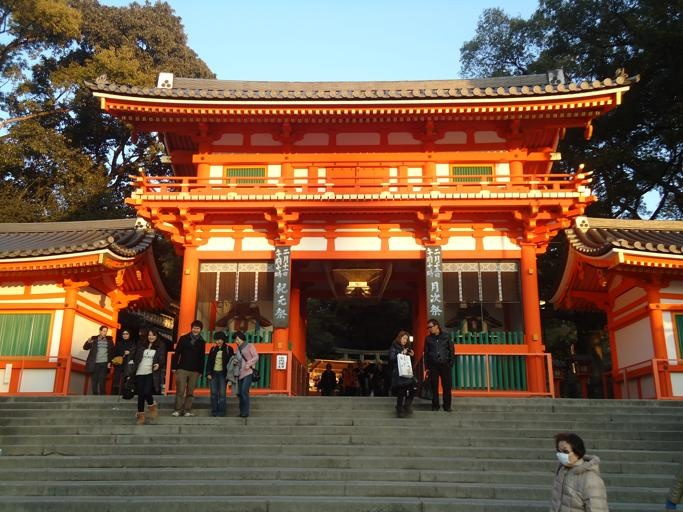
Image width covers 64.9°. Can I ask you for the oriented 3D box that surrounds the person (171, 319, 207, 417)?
[{"bbox_3d":[-3.073,2.269,10.852,0.581,1.863,0.605,5,-19,-15],"label":"person"}]

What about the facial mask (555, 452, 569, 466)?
[{"bbox_3d":[2.389,2.152,5.718,0.153,0.079,0.145,30,-28,-35],"label":"facial mask"}]

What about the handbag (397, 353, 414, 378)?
[{"bbox_3d":[1.293,2.182,10.637,0.367,0.389,0.132,3,-19,-18],"label":"handbag"}]

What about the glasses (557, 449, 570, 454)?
[{"bbox_3d":[2.370,2.067,5.683,0.077,0.021,0.075,-13,-35,31],"label":"glasses"}]

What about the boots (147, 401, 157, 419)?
[{"bbox_3d":[-3.682,2.991,10.528,0.164,0.379,0.296,-1,-11,2],"label":"boots"}]

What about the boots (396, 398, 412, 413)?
[{"bbox_3d":[1.291,3.029,10.798,0.284,0.371,0.575,-6,-16,17],"label":"boots"}]

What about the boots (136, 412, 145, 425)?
[{"bbox_3d":[-3.861,3.139,10.372,0.158,0.223,0.184,6,-18,-20],"label":"boots"}]

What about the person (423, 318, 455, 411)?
[{"bbox_3d":[2.070,2.265,11.127,0.603,1.860,0.722,-1,-18,2],"label":"person"}]

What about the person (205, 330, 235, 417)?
[{"bbox_3d":[-2.494,2.424,11.158,0.490,1.731,0.526,6,-19,-19],"label":"person"}]

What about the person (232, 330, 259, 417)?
[{"bbox_3d":[-1.956,2.432,11.060,0.469,1.731,0.677,2,-18,-9],"label":"person"}]
